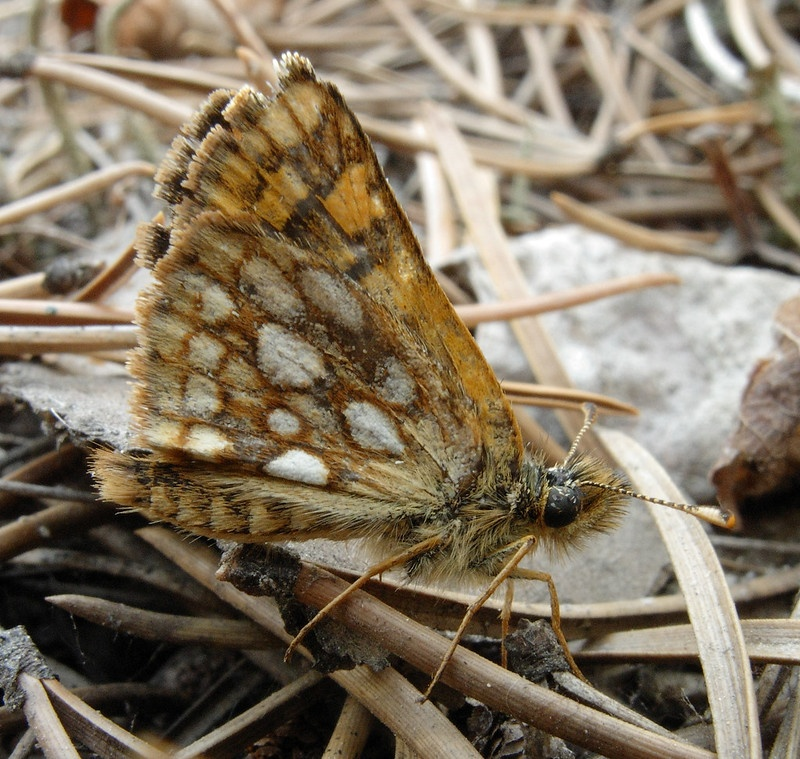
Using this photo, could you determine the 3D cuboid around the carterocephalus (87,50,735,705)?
[{"bbox_3d":[-0.095,-0.091,1.894,1.010,1.072,0.170,1,10,-15],"label":"carterocephalus"}]
